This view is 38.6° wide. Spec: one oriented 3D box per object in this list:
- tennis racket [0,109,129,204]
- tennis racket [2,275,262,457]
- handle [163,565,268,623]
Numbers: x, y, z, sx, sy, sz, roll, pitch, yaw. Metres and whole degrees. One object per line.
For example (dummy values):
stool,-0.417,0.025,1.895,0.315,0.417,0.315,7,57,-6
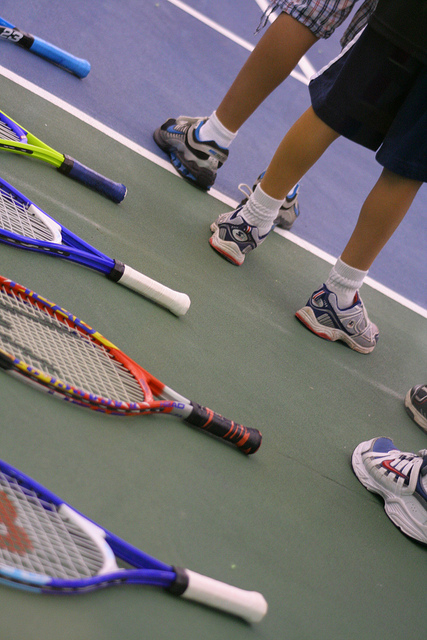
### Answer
tennis racket,-0.520,-0.536,2.018,0.559,0.074,0.220,31,16,-19
tennis racket,-0.136,0.205,1.466,0.798,0.083,0.224,34,28,-23
handle,0.011,0.521,1.154,0.269,0.079,0.080,21,57,-21
